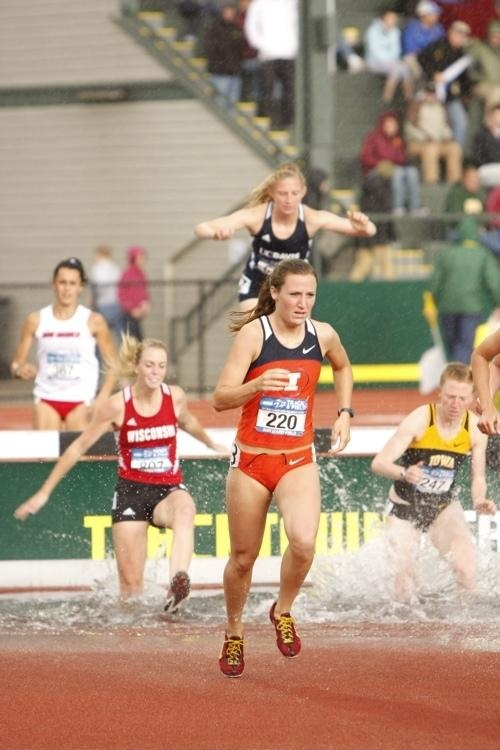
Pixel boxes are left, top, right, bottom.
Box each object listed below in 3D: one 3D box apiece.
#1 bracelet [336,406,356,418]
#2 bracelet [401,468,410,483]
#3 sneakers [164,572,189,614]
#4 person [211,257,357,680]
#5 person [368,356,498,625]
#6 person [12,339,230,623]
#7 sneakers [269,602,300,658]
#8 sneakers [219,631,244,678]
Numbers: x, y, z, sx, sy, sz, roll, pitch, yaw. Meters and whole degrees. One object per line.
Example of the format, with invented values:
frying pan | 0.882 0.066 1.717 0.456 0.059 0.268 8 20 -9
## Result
bracelet | 0.409 0.157 4.700 0.081 0.042 0.060 -1 1 -8
bracelet | 0.760 0.488 5.463 0.039 0.050 0.019 -2 4 3
sneakers | -0.322 0.974 4.995 0.089 0.238 0.096 14 37 -4
person | 0.132 0.360 4.401 0.500 1.632 0.815 2 11 6
person | 0.917 0.565 5.675 0.592 1.287 0.414 2 11 4
person | -0.592 0.486 5.488 0.846 1.308 1.085 0 11 -2
sneakers | 0.136 0.989 4.331 0.087 0.100 0.243 -14 45 -4
sneakers | -0.068 1.068 4.202 0.063 0.068 0.171 -1 25 -6
